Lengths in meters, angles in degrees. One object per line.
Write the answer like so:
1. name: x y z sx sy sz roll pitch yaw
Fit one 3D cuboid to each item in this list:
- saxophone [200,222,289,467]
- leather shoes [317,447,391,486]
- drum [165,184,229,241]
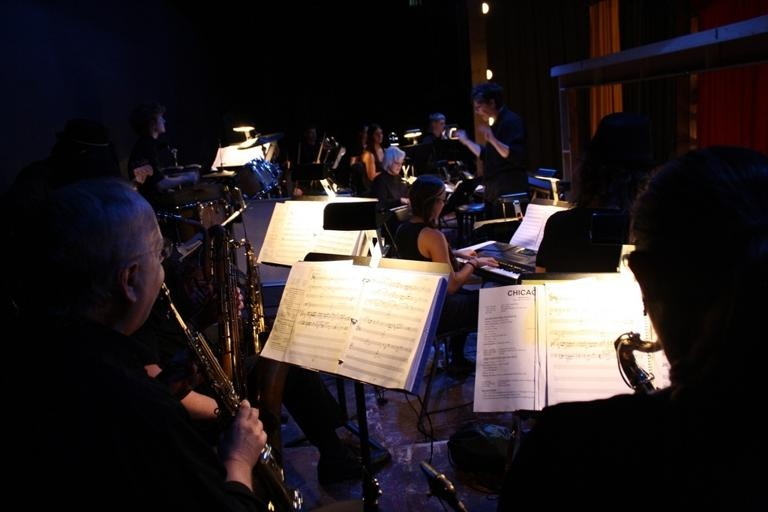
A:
1. saxophone: -0.772 0.390 3.222 0.440 1.449 0.354 -3 -21 -38
2. leather shoes: -0.199 1.299 3.756 0.569 0.239 0.187 -20 -8 29
3. drum: -2.008 -0.425 6.510 0.517 0.637 0.599 -12 -5 -33
